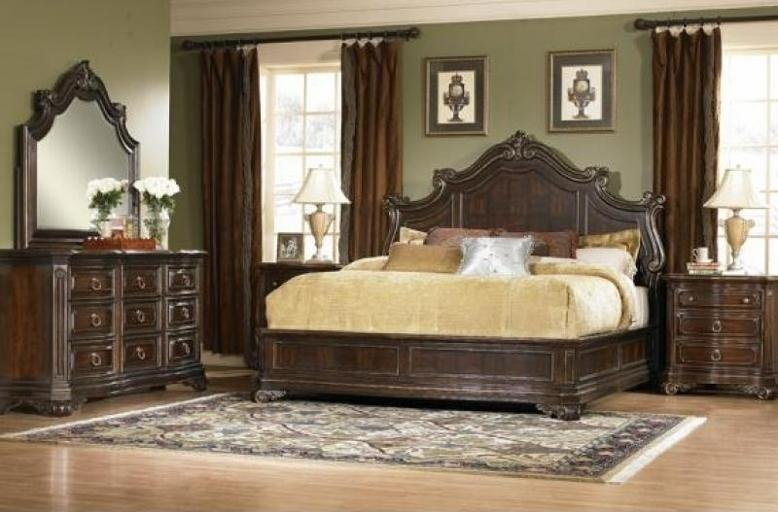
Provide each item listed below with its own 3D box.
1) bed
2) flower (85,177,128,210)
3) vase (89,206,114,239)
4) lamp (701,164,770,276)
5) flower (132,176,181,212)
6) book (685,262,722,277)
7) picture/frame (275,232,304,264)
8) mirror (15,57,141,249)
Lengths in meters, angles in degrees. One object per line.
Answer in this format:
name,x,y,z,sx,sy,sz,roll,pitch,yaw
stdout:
bed,0.750,-0.003,5.841,3.423,1.586,2.917,-2,12,-4
flower,-2.258,-0.481,5.682,0.409,0.308,0.306,2,0,-9
vase,-2.245,-0.258,5.518,0.135,0.230,0.170,0,1,-35
lamp,3.017,-0.319,6.099,0.497,0.915,0.647,1,1,38
flower,-1.967,-0.517,5.817,0.457,0.249,0.380,0,0,25
book,2.634,0.107,5.849,0.259,0.106,0.274,0,0,21
picture/frame,-0.955,-0.066,6.796,0.407,0.360,0.045,-1,-9,6
mirror,-2.558,-0.841,5.790,0.204,1.558,1.120,1,1,24
